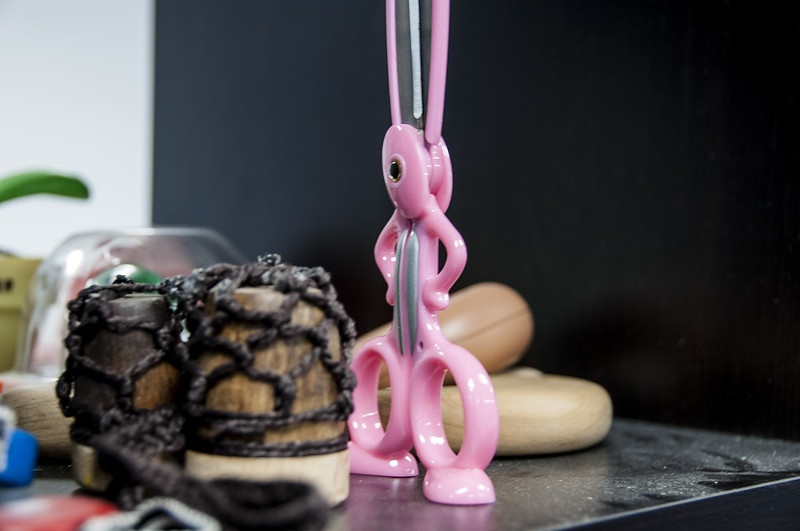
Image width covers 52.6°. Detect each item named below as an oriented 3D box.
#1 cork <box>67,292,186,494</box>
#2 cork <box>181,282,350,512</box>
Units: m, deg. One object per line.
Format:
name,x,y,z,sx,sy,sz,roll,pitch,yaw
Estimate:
cork,-0.269,0.097,0.788,0.115,0.147,0.097,7,13,44
cork,-0.142,0.099,0.819,0.157,0.238,0.158,24,32,33
